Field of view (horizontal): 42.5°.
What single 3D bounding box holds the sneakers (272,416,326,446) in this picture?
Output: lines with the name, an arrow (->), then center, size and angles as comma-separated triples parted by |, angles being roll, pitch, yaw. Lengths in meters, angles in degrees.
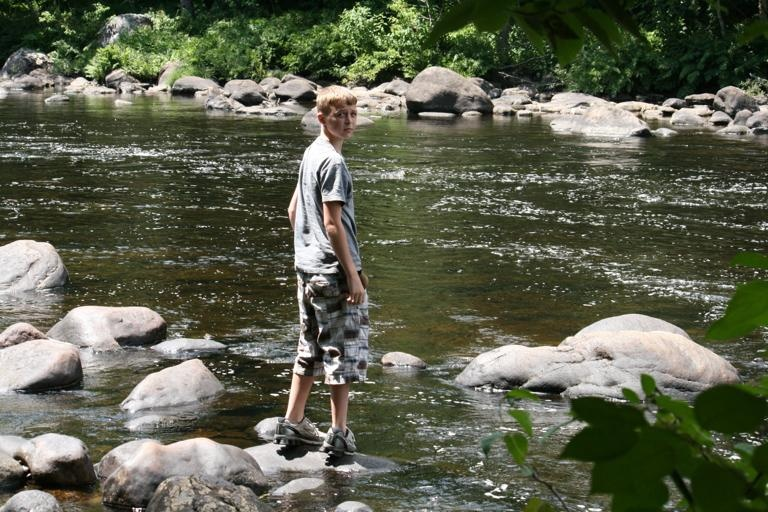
sneakers -> -0.928, 1.951, 10.801 | 0.671, 0.207, 0.259 | 3, -3, -27
